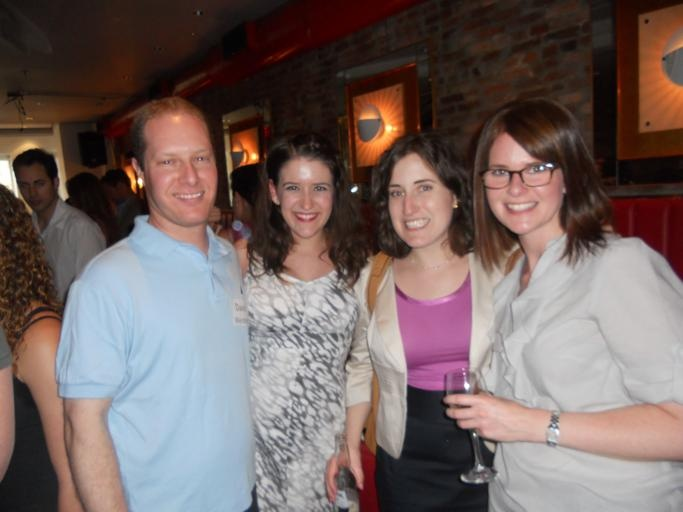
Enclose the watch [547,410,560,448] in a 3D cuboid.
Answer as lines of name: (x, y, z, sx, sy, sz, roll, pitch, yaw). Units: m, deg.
watch: (0.758, 0.611, 1.804, 0.060, 0.100, 0.105, 4, 11, 22)
